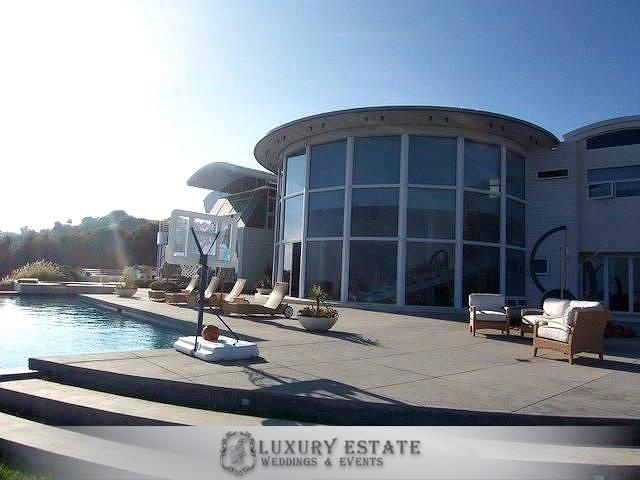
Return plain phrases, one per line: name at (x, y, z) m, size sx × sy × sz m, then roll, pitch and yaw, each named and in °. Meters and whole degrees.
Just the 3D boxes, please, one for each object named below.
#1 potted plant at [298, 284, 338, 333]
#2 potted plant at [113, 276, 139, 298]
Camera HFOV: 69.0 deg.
potted plant at (-0.059, 1.921, 13.259) m, size 1.381 × 1.253 × 1.342 m, roll 5°, pitch -11°, yaw -6°
potted plant at (-9.696, 2.380, 23.544) m, size 1.067 × 0.625 × 1.138 m, roll 2°, pitch -6°, yaw -9°
